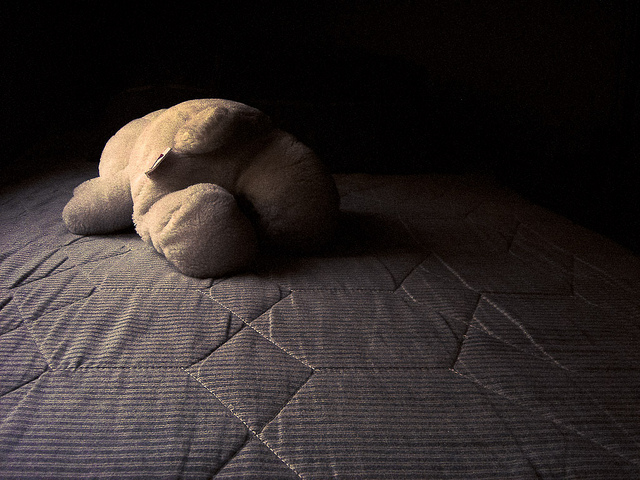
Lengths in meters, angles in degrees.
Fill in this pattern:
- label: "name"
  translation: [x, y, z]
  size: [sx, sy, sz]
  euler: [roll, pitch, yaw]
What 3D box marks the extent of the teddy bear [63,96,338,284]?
- label: "teddy bear"
  translation: [-0.478, -0.336, 2.422]
  size: [0.884, 0.397, 1.092]
  euler: [-19, 37, -33]
